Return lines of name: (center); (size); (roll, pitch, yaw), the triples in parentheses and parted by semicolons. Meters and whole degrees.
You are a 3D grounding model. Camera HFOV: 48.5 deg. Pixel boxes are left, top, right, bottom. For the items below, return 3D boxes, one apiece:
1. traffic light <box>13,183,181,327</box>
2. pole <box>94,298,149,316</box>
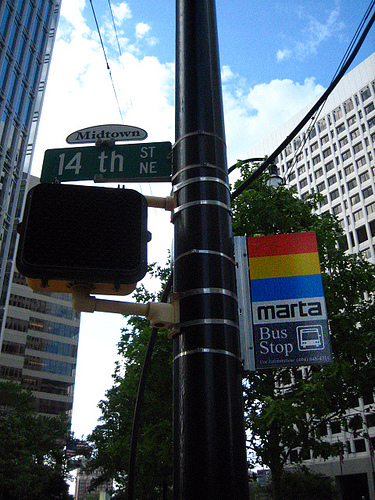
traffic light: (-0.342, 0.021, 1.738); (0.671, 0.650, 0.217); (7, -34, -19)
pole: (-0.277, 0.255, 1.795); (0.224, 0.065, 0.136); (-5, -26, 9)
